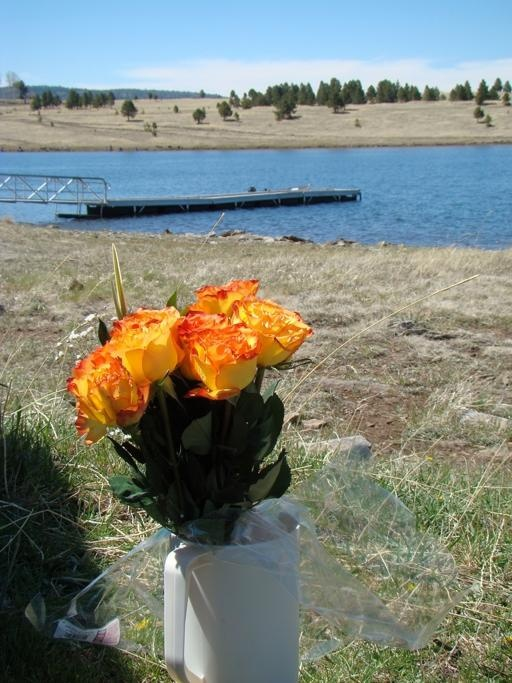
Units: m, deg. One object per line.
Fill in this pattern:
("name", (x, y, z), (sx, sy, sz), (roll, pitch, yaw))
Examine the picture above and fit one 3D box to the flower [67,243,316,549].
("flower", (-0.110, 0.121, 1.352), (0.438, 0.577, 0.394), (0, 11, 1))
